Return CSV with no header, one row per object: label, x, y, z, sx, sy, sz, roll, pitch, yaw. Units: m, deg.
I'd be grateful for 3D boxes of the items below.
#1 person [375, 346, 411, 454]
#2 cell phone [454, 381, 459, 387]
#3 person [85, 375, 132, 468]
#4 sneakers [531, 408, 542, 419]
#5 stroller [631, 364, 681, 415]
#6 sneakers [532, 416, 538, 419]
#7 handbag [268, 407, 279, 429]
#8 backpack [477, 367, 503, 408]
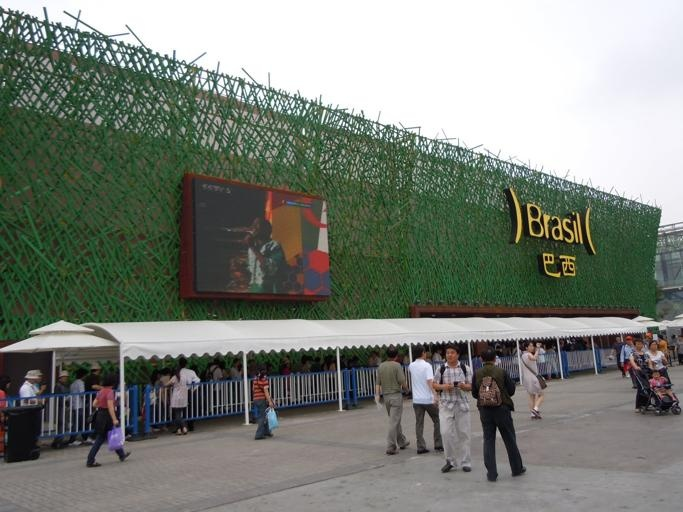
person,1.066,2.899,10.437,0.696,1.673,0.971,4,2,-10
cell phone,2.000,2.220,8.828,0.089,0.101,0.051,-3,-11,8
person,-4.998,3.487,10.791,0.733,2.028,1.155,3,2,-27
sneakers,5.178,4.155,13.346,0.197,0.260,0.580,1,-25,34
stroller,8.294,3.539,13.220,0.884,1.305,1.315,1,-24,3
sneakers,5.041,4.196,13.246,0.075,0.087,0.132,-6,-18,20
handbag,-1.733,4.077,12.647,0.258,0.615,0.522,4,2,-9
backpack,2.397,2.155,8.154,0.355,0.531,0.270,-10,-12,34
